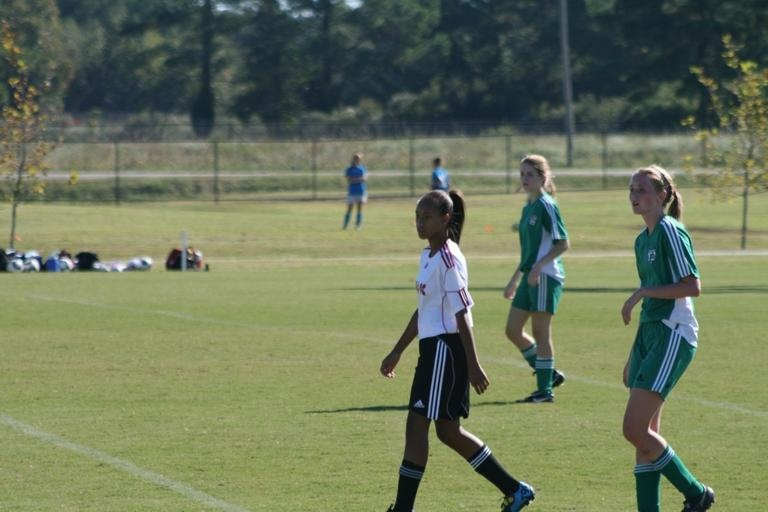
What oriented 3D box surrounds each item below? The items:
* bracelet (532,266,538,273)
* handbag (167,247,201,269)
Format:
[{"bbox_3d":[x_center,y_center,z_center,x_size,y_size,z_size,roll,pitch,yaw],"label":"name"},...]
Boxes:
[{"bbox_3d":[4.070,0.385,49.388,0.204,0.120,0.186,-2,-7,16],"label":"bracelet"},{"bbox_3d":[-6.606,0.150,59.835,1.041,0.398,0.679,3,5,-1],"label":"handbag"}]
